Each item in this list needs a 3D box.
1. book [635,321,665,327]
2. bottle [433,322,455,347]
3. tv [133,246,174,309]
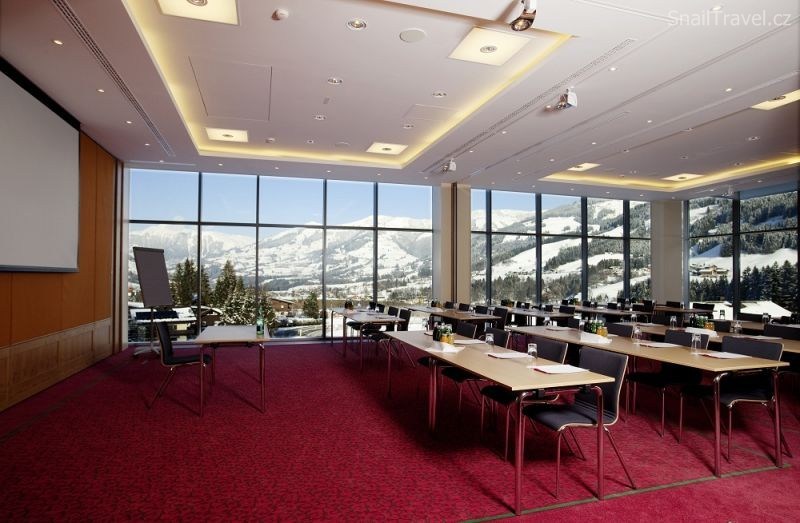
[{"bbox_3d":[4.952,1.218,9.047,0.339,0.066,0.199,0,-2,-24],"label":"book"},{"bbox_3d":[0.667,1.137,7.326,0.301,0.345,0.306,-2,-8,24],"label":"bottle"},{"bbox_3d":[-5.802,0.384,10.746,0.557,1.488,1.131,-1,9,-6],"label":"tv"}]
